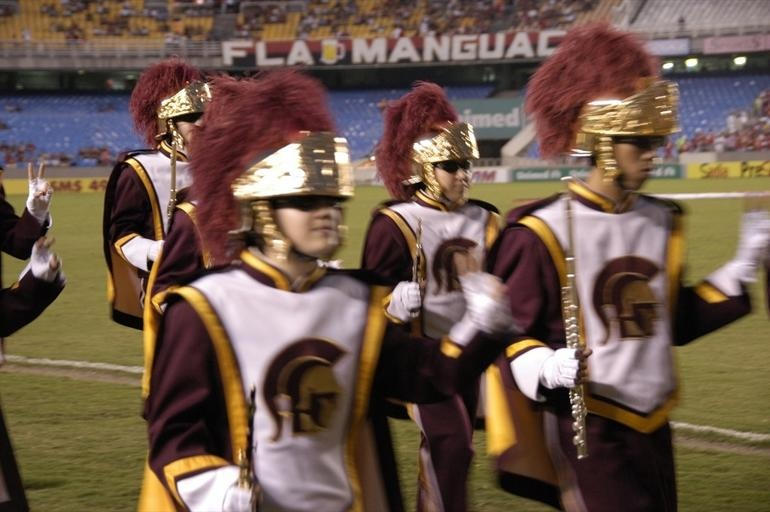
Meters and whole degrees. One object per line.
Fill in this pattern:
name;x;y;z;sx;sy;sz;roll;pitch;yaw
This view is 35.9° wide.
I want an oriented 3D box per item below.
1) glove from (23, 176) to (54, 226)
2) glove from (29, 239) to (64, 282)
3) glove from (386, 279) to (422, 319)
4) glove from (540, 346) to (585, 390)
glove;-2.708;-0.442;9.342;0.267;0.330;0.164;7;-9;-29
glove;-2.542;0.009;8.923;0.232;0.323;0.181;-2;10;-13
glove;0.161;0.306;8.556;0.259;0.255;0.142;11;12;18
glove;1.222;0.772;8.281;0.139;0.248;0.315;10;-11;-44
